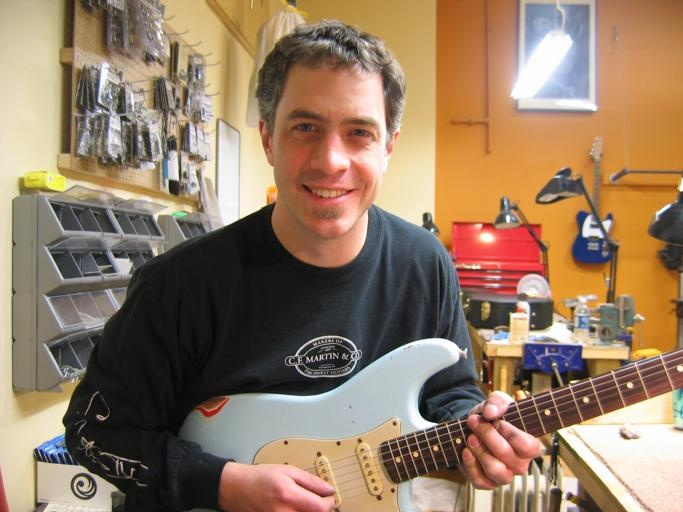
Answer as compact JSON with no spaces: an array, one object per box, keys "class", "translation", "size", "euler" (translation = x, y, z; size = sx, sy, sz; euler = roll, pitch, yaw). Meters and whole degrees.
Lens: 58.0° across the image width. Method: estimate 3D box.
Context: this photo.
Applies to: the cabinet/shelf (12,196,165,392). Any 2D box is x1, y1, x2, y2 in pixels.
[{"class":"cabinet/shelf","translation":[-1.165,0.193,2.781],"size":[0.283,1.045,0.861],"euler":[2,-1,11]}]
